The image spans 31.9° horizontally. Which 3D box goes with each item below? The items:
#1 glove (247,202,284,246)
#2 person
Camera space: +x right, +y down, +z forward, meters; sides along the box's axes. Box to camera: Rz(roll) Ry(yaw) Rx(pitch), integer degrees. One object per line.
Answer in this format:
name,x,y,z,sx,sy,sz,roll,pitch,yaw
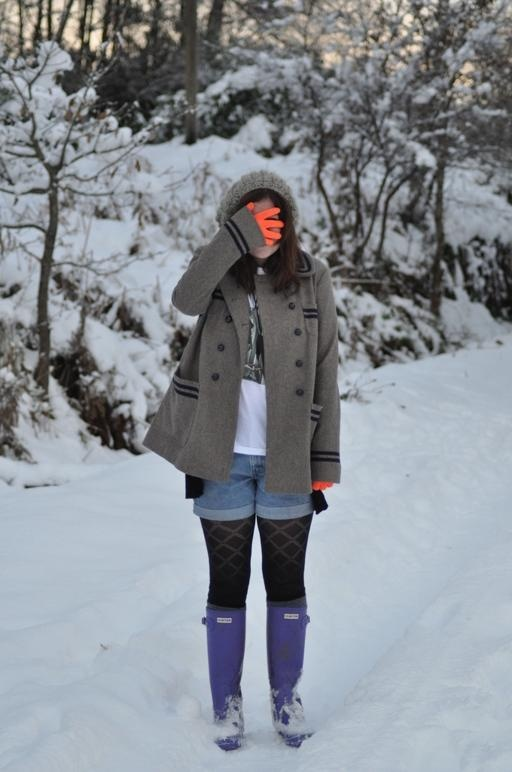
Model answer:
glove,0.036,-0.606,3.363,0.152,0.155,0.122,4,8,-9
person,-0.028,0.269,3.439,0.697,2.167,0.498,4,7,-7
